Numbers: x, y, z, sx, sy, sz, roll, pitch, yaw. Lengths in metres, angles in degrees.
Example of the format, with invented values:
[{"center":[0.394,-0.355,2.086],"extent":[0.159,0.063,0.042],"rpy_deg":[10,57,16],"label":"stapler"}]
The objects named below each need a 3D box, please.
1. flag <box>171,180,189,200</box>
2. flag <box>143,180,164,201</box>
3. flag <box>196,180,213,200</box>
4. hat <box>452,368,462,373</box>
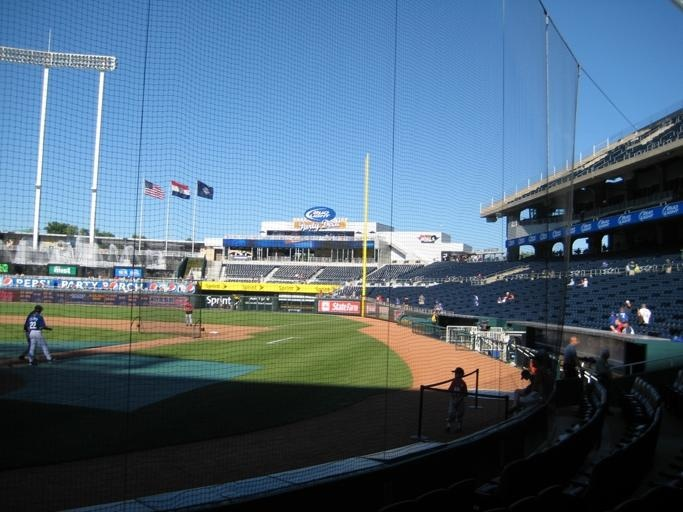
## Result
[{"center":[-1.622,-0.661,6.467],"extent":[0.020,0.131,0.184],"rpy_deg":[-12,-17,40],"label":"flag"},{"center":[-1.857,-0.654,6.360],"extent":[0.190,0.171,0.016],"rpy_deg":[5,-4,-11],"label":"flag"},{"center":[-1.405,-0.674,6.602],"extent":[0.180,0.151,0.016],"rpy_deg":[10,-16,-35],"label":"flag"},{"center":[1.622,1.575,9.047],"extent":[0.095,0.071,0.128],"rpy_deg":[3,2,-35],"label":"hat"}]
